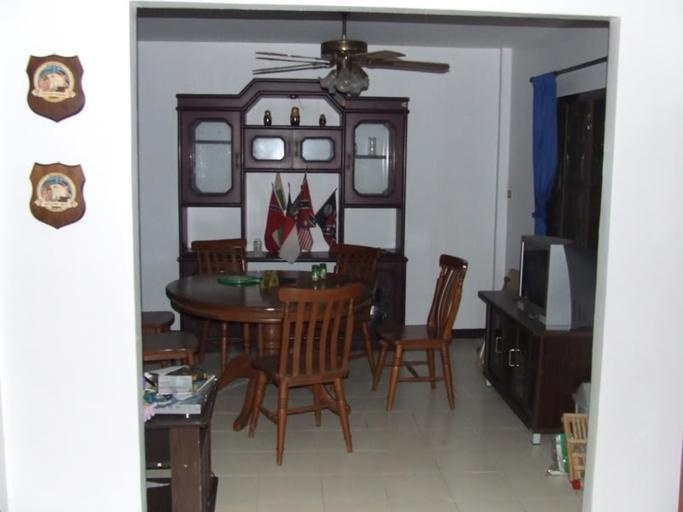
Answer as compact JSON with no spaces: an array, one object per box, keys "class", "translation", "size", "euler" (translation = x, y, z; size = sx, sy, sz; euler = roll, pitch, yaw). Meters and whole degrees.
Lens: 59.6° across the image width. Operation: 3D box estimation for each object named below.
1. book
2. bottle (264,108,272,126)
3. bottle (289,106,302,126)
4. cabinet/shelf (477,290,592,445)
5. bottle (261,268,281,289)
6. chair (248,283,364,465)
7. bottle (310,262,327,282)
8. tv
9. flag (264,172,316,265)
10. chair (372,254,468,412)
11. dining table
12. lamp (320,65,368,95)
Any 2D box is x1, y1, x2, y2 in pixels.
[{"class":"book","translation":[-0.755,0.628,2.768],"size":[0.194,0.051,0.206],"euler":[5,13,12]},{"class":"bottle","translation":[-0.653,-1.214,5.284],"size":[0.067,0.139,0.079],"euler":[-2,12,-11]},{"class":"bottle","translation":[-0.416,-1.265,5.406],"size":[0.100,0.191,0.298],"euler":[-1,12,-5]},{"class":"cabinet/shelf","translation":[1.335,0.764,4.273],"size":[0.406,0.779,1.179],"euler":[0,5,1]},{"class":"bottle","translation":[-0.513,0.162,4.197],"size":[0.091,0.150,0.149],"euler":[15,24,31]},{"class":"chair","translation":[-0.257,0.601,3.951],"size":[0.705,1.114,1.195],"euler":[-1,12,-6]},{"class":"bottle","translation":[-0.193,0.118,4.430],"size":[0.081,0.147,0.142],"euler":[3,6,34]},{"class":"tv","translation":[1.400,0.150,3.869],"size":[0.379,0.518,0.513],"euler":[1,12,3]},{"class":"flag","translation":[-0.440,-0.336,5.200],"size":[0.453,0.736,0.934],"euler":[-1,12,-7]},{"class":"chair","translation":[0.559,0.523,4.376],"size":[0.663,1.038,0.728],"euler":[5,6,21]},{"class":"dining table","translation":[-0.576,0.652,4.124],"size":[0.919,0.622,0.975],"euler":[8,-5,0]},{"class":"lamp","translation":[0.013,-1.158,3.930],"size":[0.474,0.192,0.466],"euler":[3,16,6]}]
